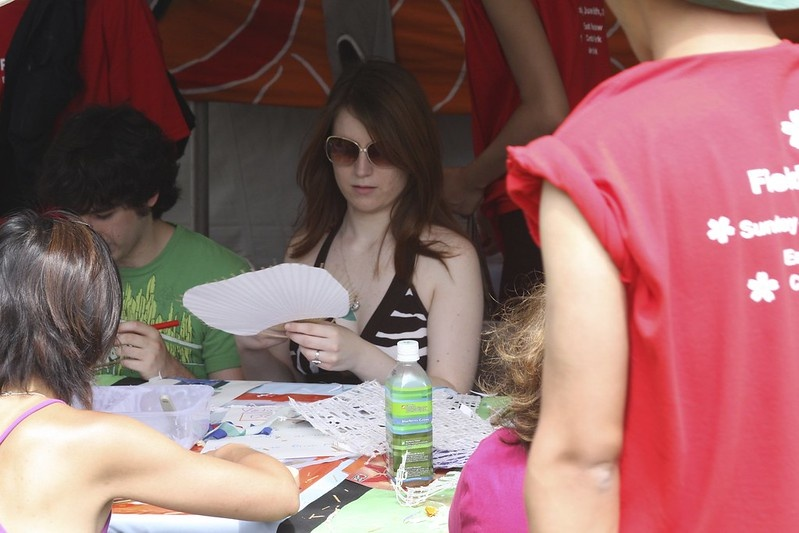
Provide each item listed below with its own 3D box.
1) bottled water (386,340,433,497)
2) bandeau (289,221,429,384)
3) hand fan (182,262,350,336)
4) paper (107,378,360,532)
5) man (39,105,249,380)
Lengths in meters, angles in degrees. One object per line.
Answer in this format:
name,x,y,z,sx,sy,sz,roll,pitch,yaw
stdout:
bottled water,0.026,0.340,1.681,0.116,0.330,0.087,1,-3,2
bandeau,-0.032,0.133,2.800,0.541,0.689,0.401,-4,5,-4
hand fan,-0.383,0.109,2.167,0.461,0.058,0.319,-8,-30,12
paper,-0.384,0.466,1.823,0.387,0.093,0.399,-11,15,-44
man,-1.090,0.007,3.037,0.877,1.222,0.742,0,13,3
